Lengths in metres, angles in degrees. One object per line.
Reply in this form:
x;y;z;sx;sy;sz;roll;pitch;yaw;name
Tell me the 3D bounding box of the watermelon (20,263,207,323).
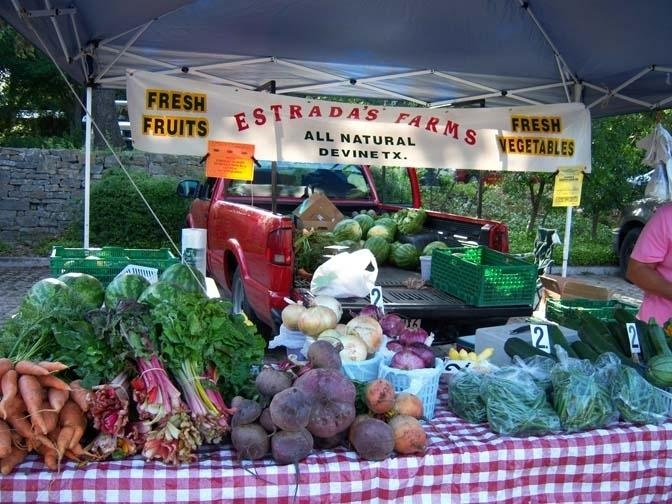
-1.344;0.222;2.947;0.809;0.344;0.596;0;9;-13;watermelon
